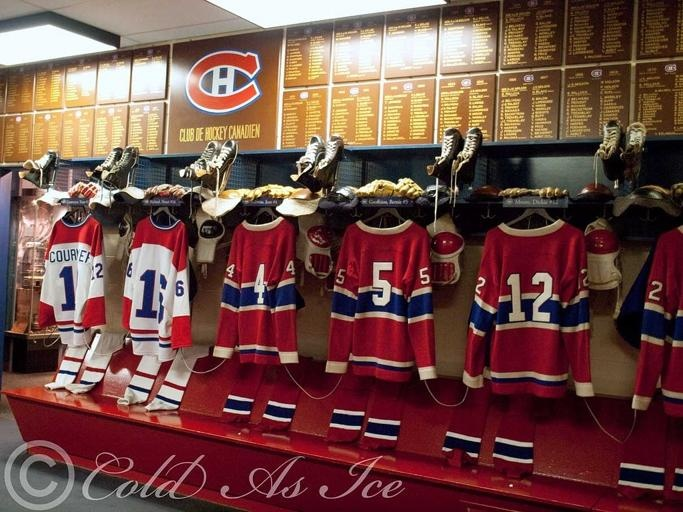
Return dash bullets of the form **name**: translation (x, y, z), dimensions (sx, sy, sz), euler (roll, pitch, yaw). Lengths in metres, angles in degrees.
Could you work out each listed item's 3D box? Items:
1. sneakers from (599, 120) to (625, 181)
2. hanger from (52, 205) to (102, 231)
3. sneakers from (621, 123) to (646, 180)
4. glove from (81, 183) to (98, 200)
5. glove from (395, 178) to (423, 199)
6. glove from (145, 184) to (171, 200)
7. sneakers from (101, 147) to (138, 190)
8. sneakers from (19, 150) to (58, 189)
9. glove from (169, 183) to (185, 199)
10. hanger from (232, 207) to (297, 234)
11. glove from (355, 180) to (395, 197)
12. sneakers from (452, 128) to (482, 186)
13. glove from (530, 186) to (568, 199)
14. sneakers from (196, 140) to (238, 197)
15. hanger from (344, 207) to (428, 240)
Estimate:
- **sneakers**: translation (1.688, -0.659, 3.717), dimensions (0.144, 0.433, 0.180), euler (3, 9, 37)
- **hanger**: translation (-2.379, -0.358, 5.492), dimensions (0.293, 0.255, 0.480), euler (2, 5, 4)
- **sneakers**: translation (1.788, -0.648, 3.658), dimensions (0.141, 0.423, 0.176), euler (8, 7, 32)
- **glove**: translation (-2.157, -0.554, 5.143), dimensions (0.115, 0.130, 0.346), euler (-2, 9, -23)
- **glove**: translation (0.466, -0.459, 4.101), dimensions (0.166, 0.127, 0.153), euler (5, 9, 27)
- **glove**: translation (-1.456, -0.515, 4.796), dimensions (0.167, 0.061, 0.121), euler (1, 6, 39)
- **sneakers**: translation (-1.836, -0.762, 5.106), dimensions (0.149, 0.459, 0.179), euler (14, -23, 11)
- **sneakers**: translation (-2.794, -0.803, 5.522), dimensions (0.198, 0.233, 0.514), euler (9, 7, 3)
- **glove**: translation (-1.302, -0.514, 4.728), dimensions (0.052, 0.082, 0.131), euler (13, 0, -44)
- **hanger**: translation (-0.610, -0.282, 4.760), dimensions (0.223, 0.176, 0.332), euler (2, 0, -38)
- **glove**: translation (0.239, -0.458, 4.141), dimensions (0.142, 0.073, 0.182), euler (-3, 3, -45)
- **sneakers**: translation (0.844, -0.666, 4.022), dimensions (0.128, 0.427, 0.182), euler (14, -7, 27)
- **glove**: translation (1.341, -0.406, 3.849), dimensions (0.127, 0.065, 0.169), euler (2, 1, 25)
- **sneakers**: translation (-0.977, -0.767, 4.761), dimensions (0.183, 0.565, 0.223), euler (15, -13, 20)
- **hanger**: translation (0.312, -0.253, 4.372), dimensions (0.542, 0.204, 0.383), euler (2, 8, 7)
